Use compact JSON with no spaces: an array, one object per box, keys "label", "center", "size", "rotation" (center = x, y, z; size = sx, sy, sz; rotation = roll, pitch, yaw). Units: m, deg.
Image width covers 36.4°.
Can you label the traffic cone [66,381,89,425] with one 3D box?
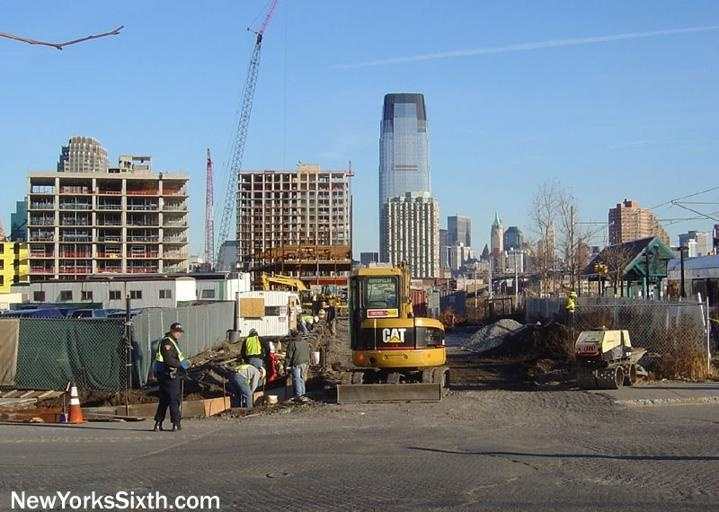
[{"label":"traffic cone","center":[-8.405,4.371,32.408],"size":[0.532,1.101,1.348],"rotation":[0,-5,-14]}]

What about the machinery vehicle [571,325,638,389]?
[{"label":"machinery vehicle","center":[8.683,3.355,36.870],"size":[1.305,1.977,4.616],"rotation":[-5,-5,35]}]

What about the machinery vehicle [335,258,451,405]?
[{"label":"machinery vehicle","center":[1.118,2.851,36.546],"size":[3.492,4.837,6.589],"rotation":[-2,-1,6]}]

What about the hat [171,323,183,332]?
[{"label":"hat","center":[-5.255,2.058,31.334],"size":[0.372,0.231,0.271],"rotation":[-4,1,-5]}]

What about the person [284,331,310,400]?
[{"label":"person","center":[-2.070,3.494,35.492],"size":[0.813,2.239,0.870],"rotation":[-1,1,41]}]

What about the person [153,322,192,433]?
[{"label":"person","center":[-5.407,3.411,31.098],"size":[0.895,3.000,1.135],"rotation":[-1,-5,-10]}]

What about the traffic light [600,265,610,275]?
[{"label":"traffic light","center":[14.208,0.772,63.212],"size":[0.653,0.672,0.505],"rotation":[1,7,1]}]

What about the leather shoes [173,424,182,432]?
[{"label":"leather shoes","center":[-5.107,4.794,30.575],"size":[0.282,0.206,0.329],"rotation":[0,-5,-13]}]
